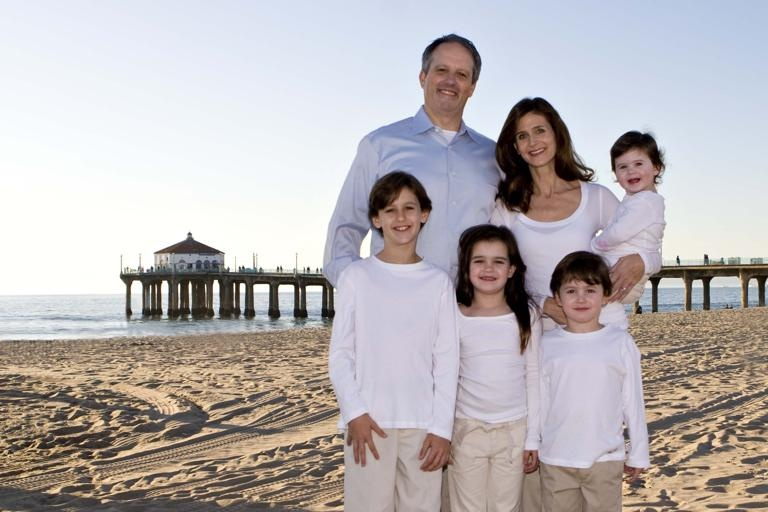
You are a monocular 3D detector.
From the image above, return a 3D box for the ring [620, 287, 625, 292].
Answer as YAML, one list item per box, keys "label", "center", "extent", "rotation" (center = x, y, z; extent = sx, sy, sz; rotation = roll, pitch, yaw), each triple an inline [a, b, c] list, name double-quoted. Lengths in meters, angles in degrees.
- label: "ring"
  center: [2.190, 0.310, 6.707]
  extent: [0.047, 0.039, 0.011]
  rotation: [0, -7, 2]
